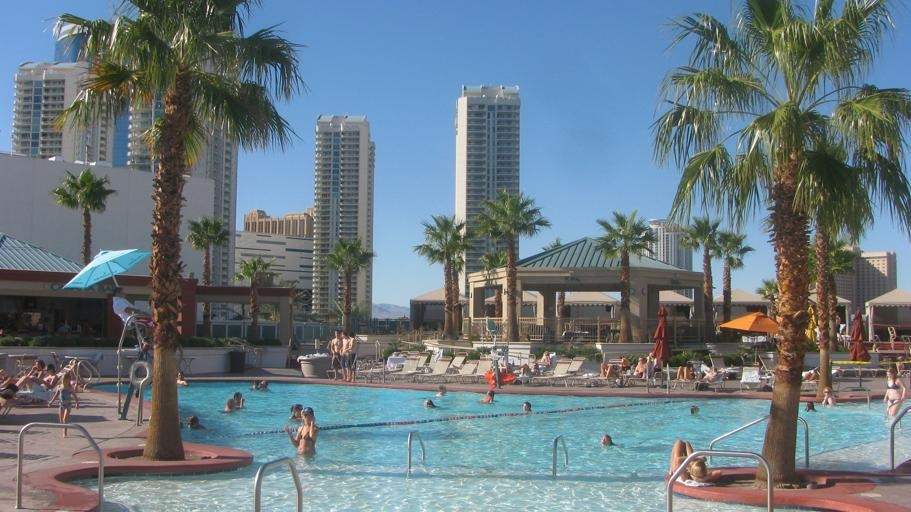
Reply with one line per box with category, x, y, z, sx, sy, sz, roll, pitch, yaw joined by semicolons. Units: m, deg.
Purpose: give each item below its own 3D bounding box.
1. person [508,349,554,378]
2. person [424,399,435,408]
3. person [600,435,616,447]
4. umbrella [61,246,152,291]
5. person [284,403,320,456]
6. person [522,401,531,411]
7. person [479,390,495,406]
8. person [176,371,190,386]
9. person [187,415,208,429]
person;3.778;5.255;46.910;1.003;1.055;1.766;1;-5;-42
person;-0.980;5.874;38.701;0.470;0.350;0.720;1;-9;-4
person;5.269;6.328;33.410;0.480;0.394;0.877;-1;-9;8
umbrella;-12.334;0.322;34.473;2.598;1.365;1.573;-7;-11;41
person;-4.973;5.813;32.099;0.788;1.567;1.250;6;-10;-32
person;2.783;5.795;37.620;0.310;0.372;1.051;-1;-9;5
person;1.309;5.776;39.510;0.234;0.721;0.344;2;14;-30
person;-11.781;5.329;42.205;0.426;0.596;1.576;2;-9;-13
person;-9.189;5.910;34.640;0.613;0.459;0.767;3;-9;-17
